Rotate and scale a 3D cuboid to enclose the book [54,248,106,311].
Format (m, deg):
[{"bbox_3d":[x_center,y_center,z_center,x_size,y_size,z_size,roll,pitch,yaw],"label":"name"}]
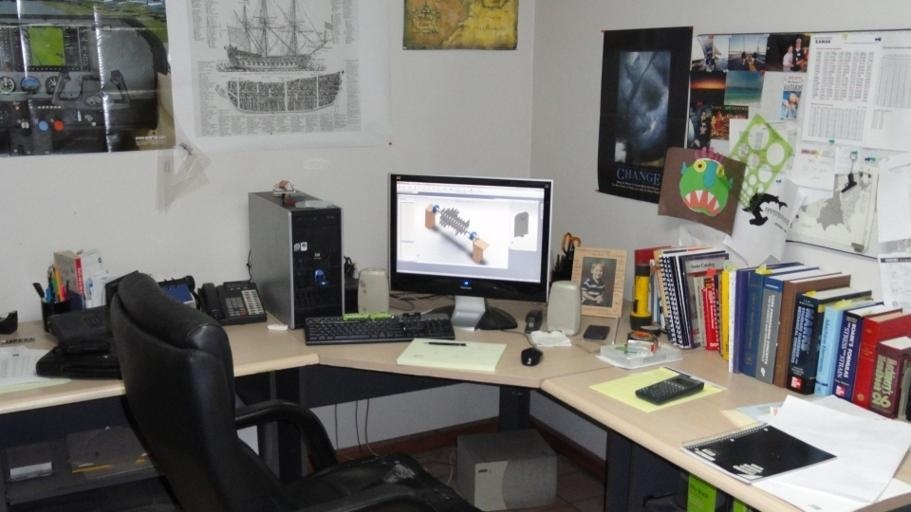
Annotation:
[{"bbox_3d":[-1.757,0.119,3.151,0.246,0.270,0.163,6,20,22],"label":"book"}]

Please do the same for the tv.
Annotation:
[{"bbox_3d":[0.076,-0.023,3.266,0.793,0.628,0.370,3,8,12],"label":"tv"}]

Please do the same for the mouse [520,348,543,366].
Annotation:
[{"bbox_3d":[0.322,0.431,2.903,0.058,0.032,0.094,3,7,17],"label":"mouse"}]

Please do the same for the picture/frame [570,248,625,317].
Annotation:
[{"bbox_3d":[0.704,0.135,3.331,0.365,0.407,0.022,3,1,9],"label":"picture/frame"}]
